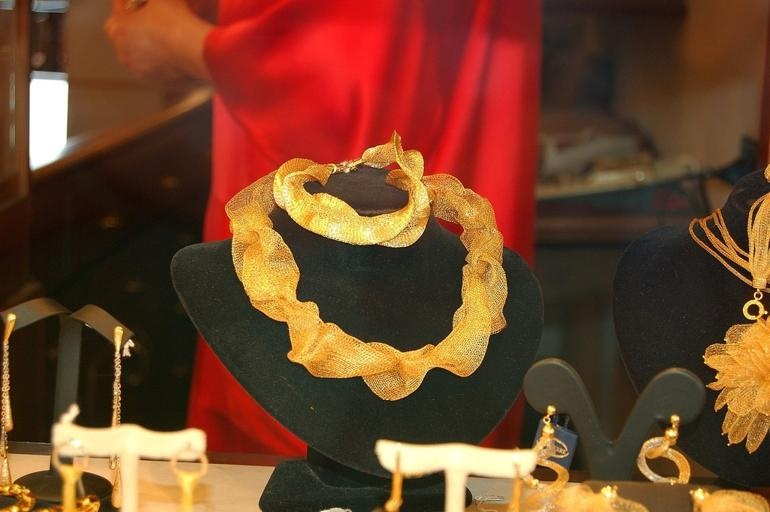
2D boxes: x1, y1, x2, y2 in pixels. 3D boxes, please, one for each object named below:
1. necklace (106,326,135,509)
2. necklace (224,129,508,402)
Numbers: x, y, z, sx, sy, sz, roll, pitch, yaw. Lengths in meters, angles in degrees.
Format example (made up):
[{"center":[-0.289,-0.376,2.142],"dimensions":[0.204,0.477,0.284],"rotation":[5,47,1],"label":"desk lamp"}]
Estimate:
[{"center":[-0.724,0.388,2.635],"dimensions":[0.053,0.447,0.526],"rotation":[3,9,-15],"label":"necklace"},{"center":[-0.038,0.082,2.556],"dimensions":[0.711,0.659,0.232],"rotation":[-31,-18,-27],"label":"necklace"}]
